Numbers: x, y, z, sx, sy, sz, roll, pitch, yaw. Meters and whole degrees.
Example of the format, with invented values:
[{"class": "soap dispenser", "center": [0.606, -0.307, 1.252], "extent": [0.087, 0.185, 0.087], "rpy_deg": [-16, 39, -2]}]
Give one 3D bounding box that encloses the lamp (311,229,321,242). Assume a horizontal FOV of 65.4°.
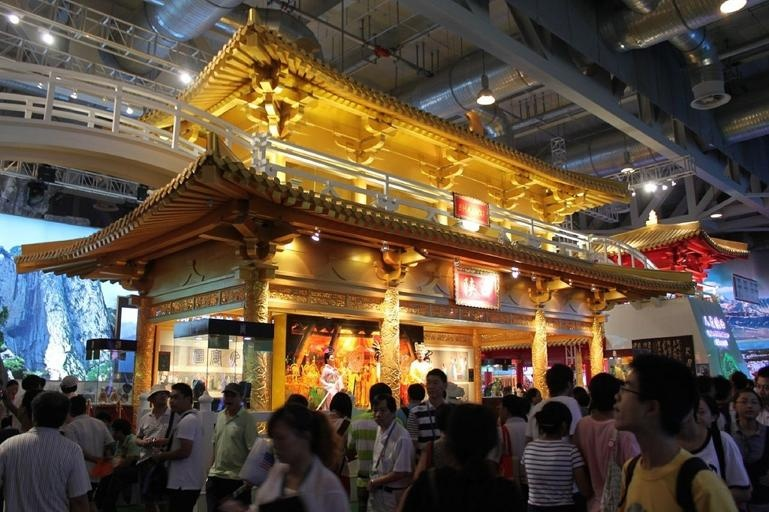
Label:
[{"class": "lamp", "center": [-1.250, -0.378, 10.825], "extent": [0.191, 0.194, 0.195], "rpy_deg": [-1, -24, 30]}]
